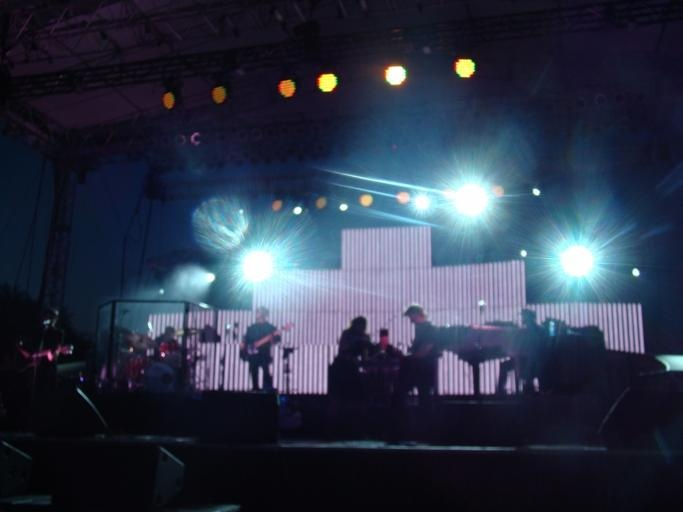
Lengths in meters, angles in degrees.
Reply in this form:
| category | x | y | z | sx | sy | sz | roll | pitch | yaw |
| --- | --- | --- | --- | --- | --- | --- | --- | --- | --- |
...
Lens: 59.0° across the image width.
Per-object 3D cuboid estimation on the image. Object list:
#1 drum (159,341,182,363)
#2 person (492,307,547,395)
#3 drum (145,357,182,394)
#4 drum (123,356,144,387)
| category | x | y | z | sx | sy | sz | roll | pitch | yaw |
| --- | --- | --- | --- | --- | --- | --- | --- | --- | --- |
| drum | -2.789 | 1.586 | 9.870 | 0.243 | 0.376 | 0.360 | 3 | 28 | -10 |
| person | 2.648 | 1.405 | 8.787 | 0.432 | 1.289 | 0.585 | 2 | -4 | 5 |
| drum | -2.547 | 1.717 | 8.599 | 0.459 | 0.377 | 0.301 | 4 | -13 | -18 |
| drum | -3.106 | 1.743 | 9.066 | 0.225 | 0.428 | 0.088 | 8 | -14 | -23 |
